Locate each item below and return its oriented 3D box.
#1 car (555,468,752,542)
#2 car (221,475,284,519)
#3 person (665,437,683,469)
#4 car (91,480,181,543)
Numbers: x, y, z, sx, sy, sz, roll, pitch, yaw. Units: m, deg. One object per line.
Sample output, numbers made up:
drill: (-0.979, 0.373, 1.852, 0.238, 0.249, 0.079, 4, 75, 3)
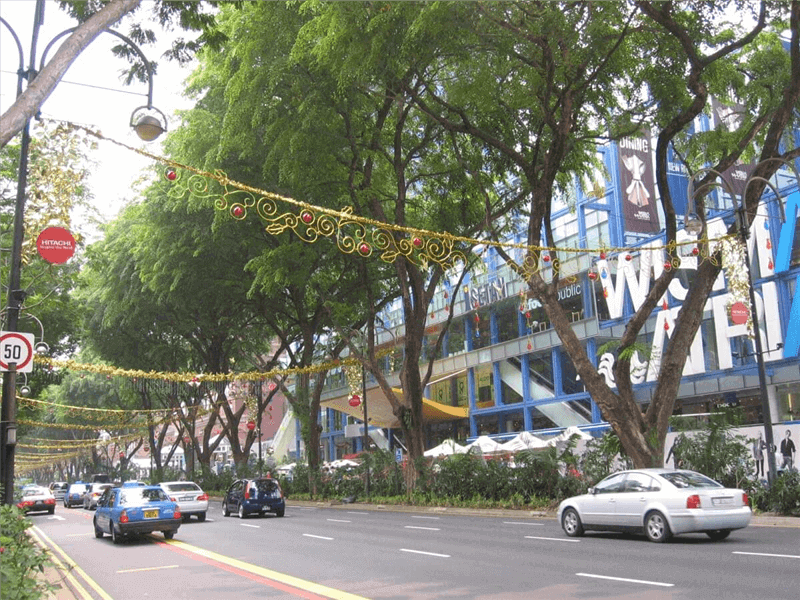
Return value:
car: (6.303, 5.238, 20.066, 4.185, 1.813, 1.273, -18, -19, 39)
car: (-6.396, 8.460, 33.917, 1.515, 1.363, 2.758, 6, -13, -29)
person: (9.051, 5.062, 26.108, 0.313, 0.987, 0.905, -3, -14, -1)
car: (-8.586, 6.766, 25.227, 1.525, 1.335, 3.452, 4, -11, -26)
